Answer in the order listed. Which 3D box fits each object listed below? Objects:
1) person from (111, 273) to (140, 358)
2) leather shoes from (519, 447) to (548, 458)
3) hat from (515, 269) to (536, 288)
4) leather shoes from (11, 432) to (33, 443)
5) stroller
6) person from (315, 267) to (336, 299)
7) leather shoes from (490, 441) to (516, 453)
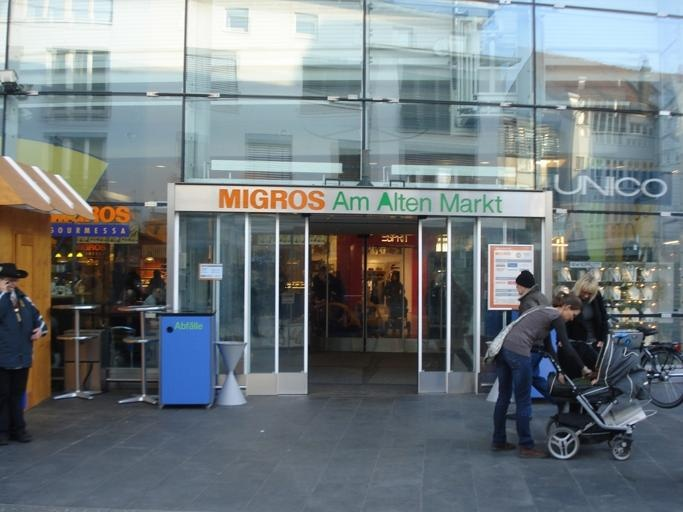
[{"bbox_3d":[-4.111,1.155,15.113,0.579,1.789,0.335,-1,8,0],"label":"person"},{"bbox_3d":[2.665,2.727,10.956,0.387,0.135,0.138,-1,0,-3],"label":"leather shoes"},{"bbox_3d":[2.731,0.339,11.657,0.233,0.214,0.284,2,22,-40],"label":"hat"},{"bbox_3d":[-4.693,2.689,11.655,0.352,0.129,0.126,-1,0,-5],"label":"leather shoes"},{"bbox_3d":[3.536,1.953,10.916,1.324,1.695,0.659,1,8,11],"label":"stroller"},{"bbox_3d":[-0.418,0.698,20.438,0.578,0.841,0.253,-1,8,-5],"label":"person"},{"bbox_3d":[2.321,2.719,11.267,0.358,0.125,0.121,-3,2,-26],"label":"leather shoes"}]
